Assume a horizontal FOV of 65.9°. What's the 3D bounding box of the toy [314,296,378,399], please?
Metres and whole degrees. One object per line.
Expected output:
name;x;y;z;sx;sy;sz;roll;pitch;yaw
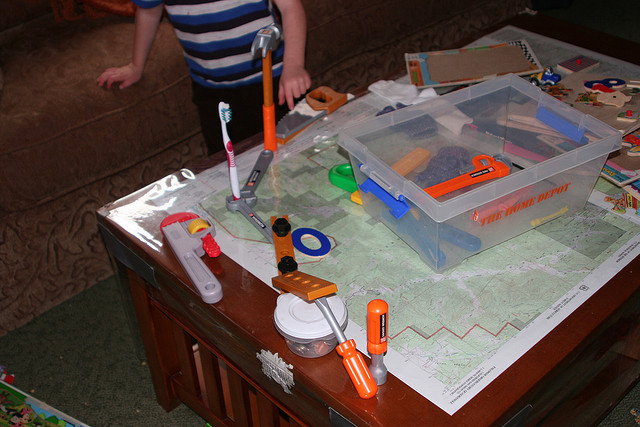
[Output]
toy;0.047;0.255;0.975;0.042;0.041;0.206;-21;58;-15

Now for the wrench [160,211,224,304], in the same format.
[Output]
wrench;-0.296;0.087;1.164;0.122;0.062;0.238;-20;52;-29

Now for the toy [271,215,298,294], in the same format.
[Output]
toy;-0.089;0.090;1.165;0.049;0.075;0.194;-6;54;-9

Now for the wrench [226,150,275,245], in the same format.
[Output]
wrench;-0.187;-0.033;1.309;0.046;0.025;0.340;19;39;-3

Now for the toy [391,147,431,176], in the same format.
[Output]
toy;0.236;-0.133;1.288;0.124;0.017;0.049;-33;55;-24

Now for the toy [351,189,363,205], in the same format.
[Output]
toy;0.103;-0.042;1.302;0.033;0.008;0.029;-6;37;-8

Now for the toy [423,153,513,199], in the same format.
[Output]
toy;0.384;-0.101;1.229;0.309;0.042;0.100;-24;38;-27

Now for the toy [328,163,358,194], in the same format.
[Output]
toy;0.064;-0.100;1.363;0.084;0.020;0.076;-14;35;-18

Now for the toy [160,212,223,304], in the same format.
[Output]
toy;-0.297;0.086;1.166;0.123;0.062;0.236;-20;52;-28

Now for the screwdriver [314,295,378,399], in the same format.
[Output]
screwdriver;0.048;0.260;0.975;0.043;0.102;0.201;-22;50;-18

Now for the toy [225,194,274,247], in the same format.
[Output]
toy;-0.174;0.021;1.263;0.077;0.033;0.299;-18;32;-17
